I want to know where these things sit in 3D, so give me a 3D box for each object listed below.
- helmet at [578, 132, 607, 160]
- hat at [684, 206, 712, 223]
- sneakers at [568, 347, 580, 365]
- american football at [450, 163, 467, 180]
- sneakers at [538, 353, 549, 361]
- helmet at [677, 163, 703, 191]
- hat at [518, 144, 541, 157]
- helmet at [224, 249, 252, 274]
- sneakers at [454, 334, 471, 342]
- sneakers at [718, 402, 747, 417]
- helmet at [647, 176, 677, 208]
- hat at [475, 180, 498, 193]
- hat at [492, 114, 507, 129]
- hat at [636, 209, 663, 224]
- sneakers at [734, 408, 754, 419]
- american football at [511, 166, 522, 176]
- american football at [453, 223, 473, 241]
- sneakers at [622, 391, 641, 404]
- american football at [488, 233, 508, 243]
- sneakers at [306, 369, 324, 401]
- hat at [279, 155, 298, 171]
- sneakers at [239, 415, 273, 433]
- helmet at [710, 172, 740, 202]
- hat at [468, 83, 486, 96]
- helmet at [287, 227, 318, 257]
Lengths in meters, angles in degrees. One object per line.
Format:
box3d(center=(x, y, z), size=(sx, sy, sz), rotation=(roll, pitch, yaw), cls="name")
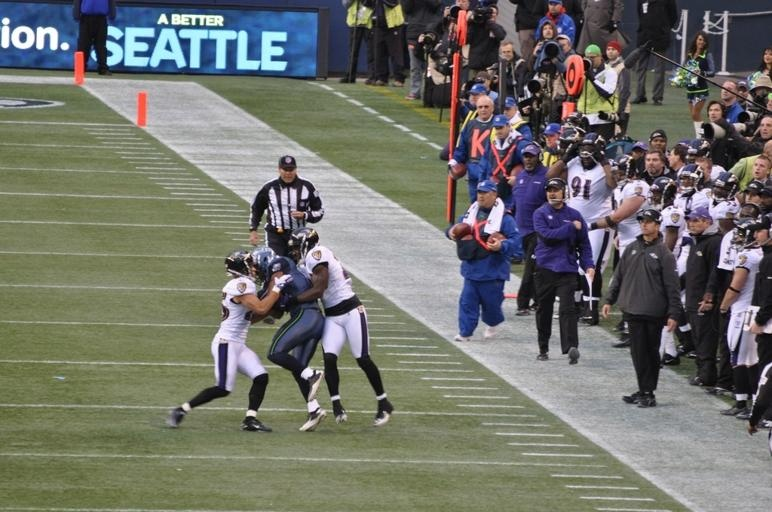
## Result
box3d(center=(3.530, -1.920, 34.914), size=(0.359, 0.415, 0.441), rotation=(5, 8, 35), cls="helmet")
box3d(center=(5.051, -0.683, 32.609), size=(0.401, 0.226, 0.346), rotation=(1, 6, 2), cls="hat")
box3d(center=(3.039, 1.609, 32.861), size=(0.216, 0.256, 0.164), rotation=(1, 1, 13), cls="sneakers")
box3d(center=(1.324, -1.579, 37.204), size=(0.268, 0.175, 0.292), rotation=(-15, 18, -38), cls="american football")
box3d(center=(2.606, 1.647, 33.470), size=(0.207, 0.141, 0.106), rotation=(-1, 7, -11), cls="sneakers")
box3d(center=(5.033, -1.311, 33.572), size=(0.400, 0.435, 0.355), rotation=(1, 7, 7), cls="helmet")
box3d(center=(2.501, -1.856, 34.888), size=(0.307, 0.211, 0.381), rotation=(1, 6, 1), cls="hat")
box3d(center=(-2.242, 0.100, 30.749), size=(0.364, 0.375, 0.210), rotation=(0, 7, -1), cls="helmet")
box3d(center=(1.297, 1.364, 34.127), size=(0.299, 0.137, 0.212), rotation=(0, 6, -9), cls="sneakers")
box3d(center=(5.417, 2.409, 32.013), size=(0.568, 0.176, 0.167), rotation=(0, 1, 11), cls="sneakers")
box3d(center=(4.568, -1.094, 34.047), size=(0.652, 0.469, 0.440), rotation=(-5, 3, -13), cls="helmet")
box3d(center=(1.689, -1.174, 33.762), size=(0.312, 0.179, 0.225), rotation=(-5, 9, -44), cls="hat")
box3d(center=(2.025, -2.397, 35.834), size=(0.267, 0.215, 0.318), rotation=(1, 6, 3), cls="hat")
box3d(center=(4.157, -0.633, 32.006), size=(0.360, 0.246, 0.386), rotation=(1, 6, 6), cls="hat")
box3d(center=(5.598, 2.486, 31.791), size=(0.210, 0.154, 0.219), rotation=(0, 6, -3), cls="sneakers")
box3d(center=(2.311, -1.519, 35.719), size=(0.192, 0.187, 0.357), rotation=(0, 6, -4), cls="american football")
box3d(center=(1.276, -0.412, 33.584), size=(0.258, 0.217, 0.305), rotation=(36, -9, -11), cls="american football")
box3d(center=(3.915, 2.247, 32.142), size=(0.402, 0.122, 0.124), rotation=(1, 11, 0), cls="sneakers")
box3d(center=(1.859, -0.333, 33.620), size=(0.322, 0.143, 0.148), rotation=(-2, 7, -26), cls="american football")
box3d(center=(-1.136, 1.999, 30.907), size=(0.275, 0.506, 0.177), rotation=(15, 41, -6), cls="sneakers")
box3d(center=(-1.678, -1.612, 34.512), size=(0.265, 0.141, 0.326), rotation=(-1, 13, -15), cls="hat")
box3d(center=(-2.044, 2.567, 30.948), size=(0.591, 0.197, 0.183), rotation=(7, 17, -13), cls="sneakers")
box3d(center=(5.522, -1.131, 33.102), size=(0.392, 0.482, 0.383), rotation=(1, 7, 7), cls="helmet")
box3d(center=(1.754, -3.131, 37.688), size=(0.315, 0.127, 0.224), rotation=(1, 0, -43), cls="hat")
box3d(center=(-1.288, -0.242, 31.332), size=(0.568, 0.385, 0.407), rotation=(1, 8, 14), cls="helmet")
